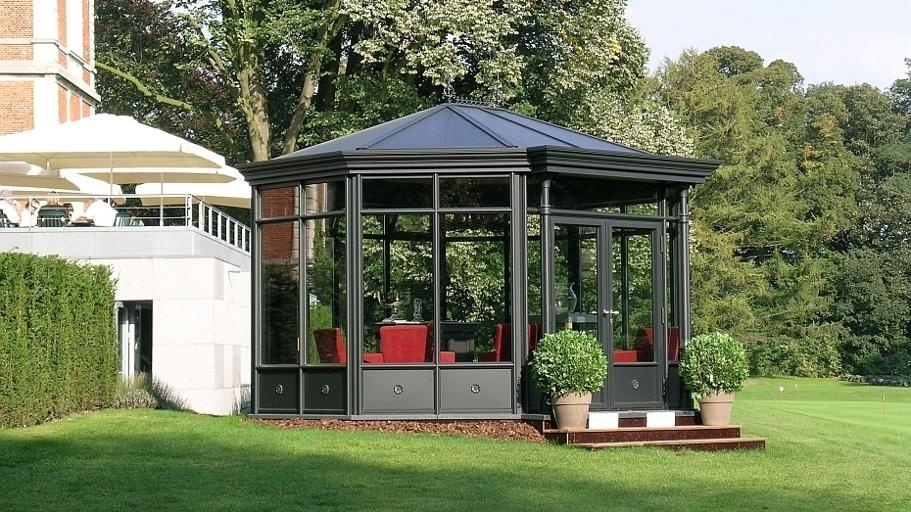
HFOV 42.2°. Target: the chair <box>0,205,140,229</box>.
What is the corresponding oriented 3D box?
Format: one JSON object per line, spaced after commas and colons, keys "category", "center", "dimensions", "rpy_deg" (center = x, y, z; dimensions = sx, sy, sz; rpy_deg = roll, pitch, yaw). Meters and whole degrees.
{"category": "chair", "center": [-13.902, -1.433, 42.513], "dimensions": [4.739, 0.992, 1.502], "rpy_deg": [0, -7, -3]}
